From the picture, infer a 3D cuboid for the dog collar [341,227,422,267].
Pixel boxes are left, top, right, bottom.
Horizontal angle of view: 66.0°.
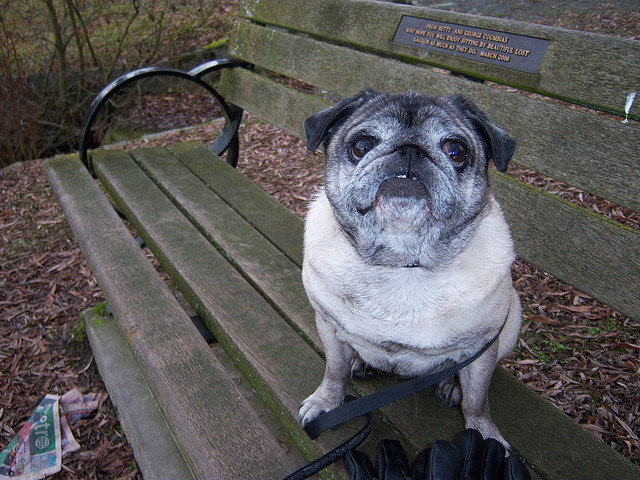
[{"bbox_3d":[0.230,0.041,1.836,0.300,0.068,0.019,18,34,14],"label":"dog collar"}]
